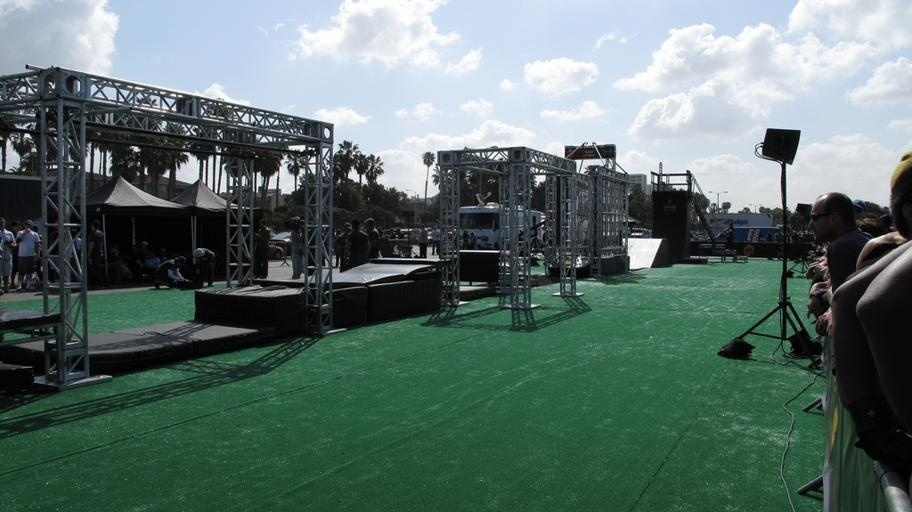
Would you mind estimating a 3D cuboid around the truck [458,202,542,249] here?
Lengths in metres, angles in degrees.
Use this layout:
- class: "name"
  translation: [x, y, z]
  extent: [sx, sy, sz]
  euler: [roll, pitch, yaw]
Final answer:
- class: "truck"
  translation: [2.746, -1.825, 36.998]
  extent: [2.903, 2.649, 5.753]
  euler: [-1, -2, 35]

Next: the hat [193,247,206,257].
- class: "hat"
  translation: [-9.368, -0.113, 20.601]
  extent: [0.353, 0.247, 0.554]
  euler: [-2, -1, -39]

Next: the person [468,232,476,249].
- class: "person"
  translation: [0.991, -0.930, 35.458]
  extent: [0.325, 0.923, 0.377]
  euler: [-1, -13, 14]

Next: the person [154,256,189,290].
- class: "person"
  translation: [-10.501, 0.632, 20.867]
  extent: [1.321, 1.036, 0.974]
  euler: [2, 2, -23]

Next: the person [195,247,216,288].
- class: "person"
  translation: [-9.186, 0.349, 20.723]
  extent: [0.604, 1.695, 0.502]
  euler: [1, 22, -7]
